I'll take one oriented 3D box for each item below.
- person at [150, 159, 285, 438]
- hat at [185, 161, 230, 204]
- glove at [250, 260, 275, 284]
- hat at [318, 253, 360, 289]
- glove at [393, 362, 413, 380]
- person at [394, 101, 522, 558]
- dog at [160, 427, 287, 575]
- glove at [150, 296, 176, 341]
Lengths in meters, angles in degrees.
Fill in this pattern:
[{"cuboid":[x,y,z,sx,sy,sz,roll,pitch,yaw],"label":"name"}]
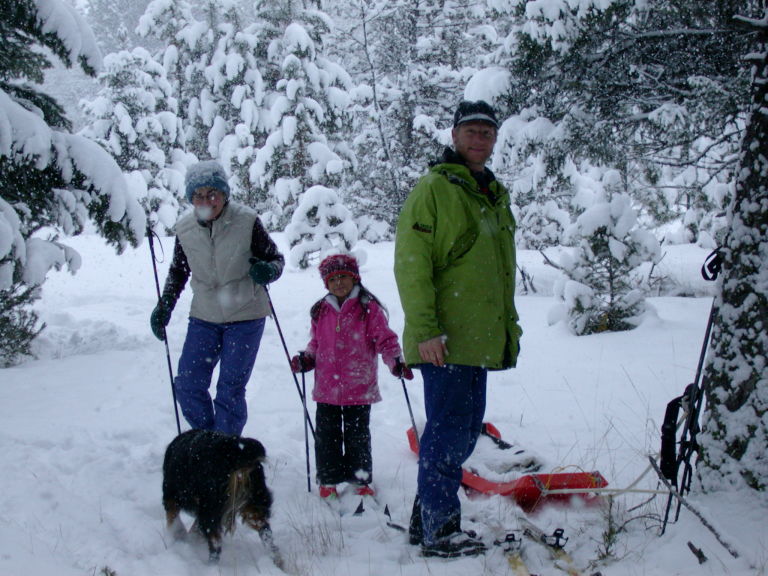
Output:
[{"cuboid":[-1.850,0.133,9.394,1.388,3.085,0.892,1,10,-6],"label":"person"},{"cuboid":[-2.019,-1.269,9.420,0.510,0.605,0.607,-5,16,-9],"label":"hat"},{"cuboid":[-1.351,-0.173,9.184,0.177,0.294,0.092,-5,0,-9],"label":"glove"},{"cuboid":[-0.494,-0.192,9.163,0.281,0.363,0.381,1,3,36],"label":"hat"},{"cuboid":[0.181,0.853,8.640,0.129,0.187,0.203,1,-2,0],"label":"glove"},{"cuboid":[0.695,0.384,8.231,1.219,4.418,0.899,0,10,-9],"label":"person"},{"cuboid":[-1.629,2.042,8.306,1.305,1.242,0.505,8,12,28],"label":"dog"},{"cuboid":[-2.579,0.305,9.682,0.234,0.200,0.786,1,54,-1],"label":"glove"}]
